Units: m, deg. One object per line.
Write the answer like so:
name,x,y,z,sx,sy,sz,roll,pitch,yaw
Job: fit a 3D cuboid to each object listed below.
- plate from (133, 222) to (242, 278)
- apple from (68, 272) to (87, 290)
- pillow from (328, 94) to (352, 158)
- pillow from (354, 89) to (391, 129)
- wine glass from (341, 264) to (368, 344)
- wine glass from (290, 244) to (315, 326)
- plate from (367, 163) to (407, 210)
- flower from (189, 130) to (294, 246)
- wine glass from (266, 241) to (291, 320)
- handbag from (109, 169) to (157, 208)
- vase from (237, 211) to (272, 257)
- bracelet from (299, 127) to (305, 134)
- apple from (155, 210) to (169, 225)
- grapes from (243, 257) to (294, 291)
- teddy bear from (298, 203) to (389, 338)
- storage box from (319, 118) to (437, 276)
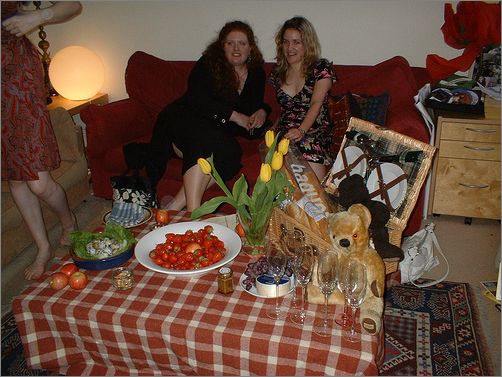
plate,-0.350,0.245,1.860,0.286,0.067,0.300,-21,36,-32
apple,-0.752,0.401,1.653,0.065,0.066,0.068,7,22,1
pillow,0.681,-0.500,2.923,0.105,0.396,0.317,-3,1,-27
pillow,0.907,-0.575,2.808,0.301,0.319,0.111,10,-9,4
wine glass,0.393,0.409,1.452,0.093,0.273,0.190,7,25,15
wine glass,0.211,0.358,1.534,0.073,0.271,0.221,4,25,9
plate,0.739,-0.018,2.026,0.200,0.241,0.032,-5,-1,42
flower,-0.028,0.058,1.833,0.535,0.512,0.429,-16,18,-40
wine glass,0.102,0.362,1.540,0.080,0.252,0.177,2,24,4
handbag,-0.897,0.006,2.945,0.307,0.310,0.166,-2,56,31
vase,0.014,0.198,1.904,0.183,0.235,0.185,-1,14,-3
bracelet,0.373,-0.420,2.779,0.037,0.012,0.037,47,30,7
apple,-0.482,0.156,2.068,0.065,0.085,0.069,4,5,-2
grapes,0.072,0.356,1.584,0.268,0.140,0.102,-6,-22,17
teddy bear,0.459,0.315,1.703,0.437,0.557,0.397,-1,-6,29
storage box,0.630,-0.003,2.059,0.830,0.679,0.237,15,-26,-4
